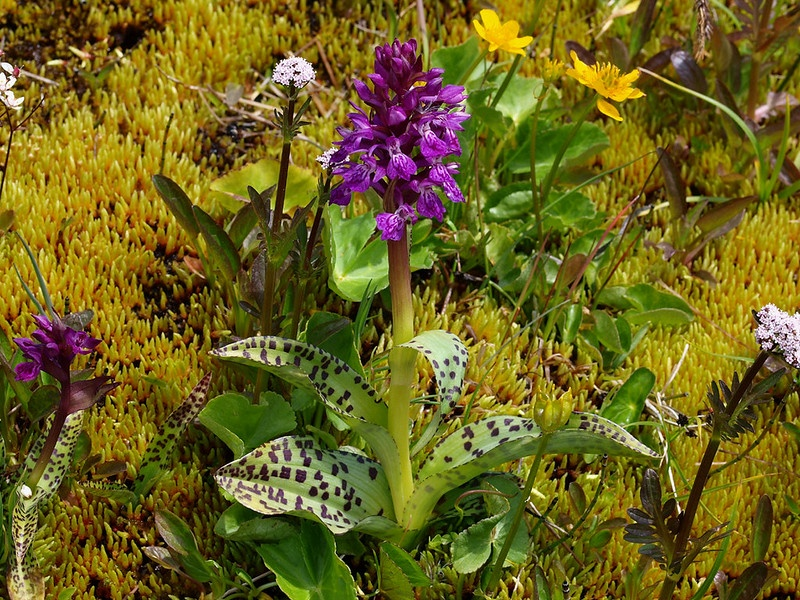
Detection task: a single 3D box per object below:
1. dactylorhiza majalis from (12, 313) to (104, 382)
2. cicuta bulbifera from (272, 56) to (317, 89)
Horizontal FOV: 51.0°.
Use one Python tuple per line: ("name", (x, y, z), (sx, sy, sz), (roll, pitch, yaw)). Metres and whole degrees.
("dactylorhiza majalis", (-1.228, 0.183, 3.012), (0.228, 0.187, 0.259), (2, 29, 7))
("cicuta bulbifera", (-0.356, -0.772, 2.842), (0.110, 0.091, 0.117), (-7, 5, -22))
